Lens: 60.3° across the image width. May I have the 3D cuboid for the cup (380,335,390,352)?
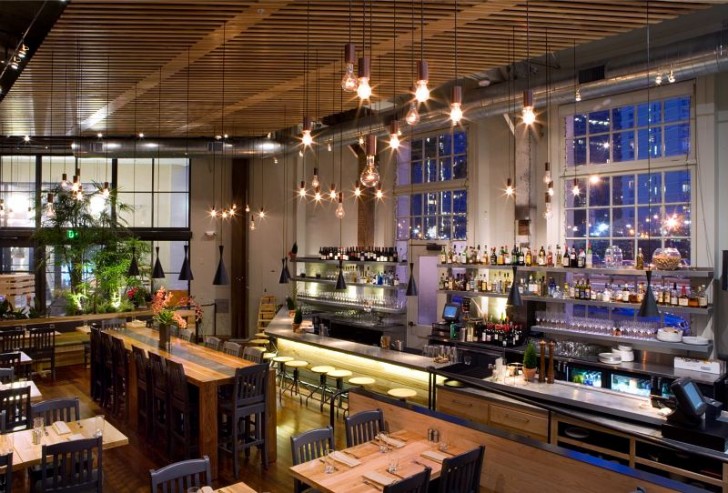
[{"bbox_3d":[0.405,1.832,11.797,0.198,0.289,0.212,2,4,0],"label":"cup"}]

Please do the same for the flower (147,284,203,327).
[{"bbox_3d":[-4.602,1.459,15.145,1.417,1.059,1.242,-1,7,-42],"label":"flower"}]

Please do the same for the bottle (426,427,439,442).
[{"bbox_3d":[0.967,2.655,8.799,0.177,0.200,0.145,-1,0,7],"label":"bottle"}]

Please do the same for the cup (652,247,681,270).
[{"bbox_3d":[4.970,0.182,10.285,0.369,0.349,0.386,0,-3,0],"label":"cup"}]
